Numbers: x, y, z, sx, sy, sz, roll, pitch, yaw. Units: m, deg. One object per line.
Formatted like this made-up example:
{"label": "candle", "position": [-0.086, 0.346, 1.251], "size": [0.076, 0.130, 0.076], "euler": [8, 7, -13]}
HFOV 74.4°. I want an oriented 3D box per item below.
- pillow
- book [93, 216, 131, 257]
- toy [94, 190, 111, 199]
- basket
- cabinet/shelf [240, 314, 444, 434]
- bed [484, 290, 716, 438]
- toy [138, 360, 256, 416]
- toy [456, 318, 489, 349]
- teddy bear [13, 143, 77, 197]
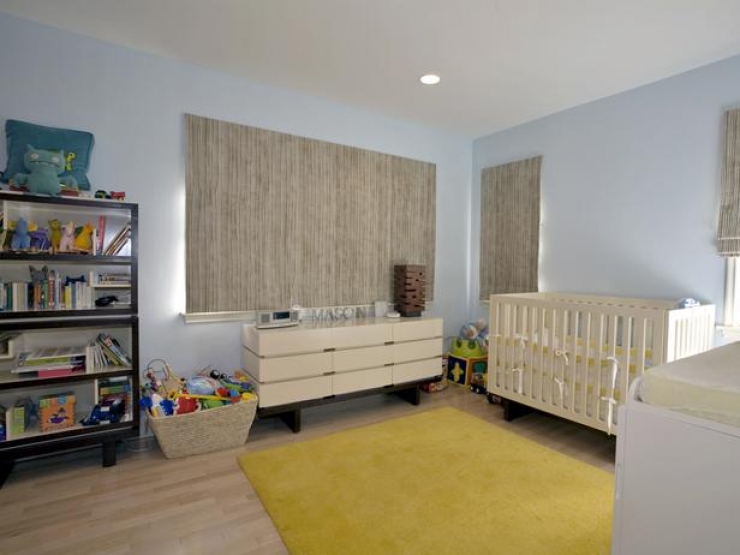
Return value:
{"label": "pillow", "position": [-2.221, -0.837, 3.324], "size": [0.483, 0.435, 0.098], "euler": [8, -26, -34]}
{"label": "book", "position": [-1.830, -0.253, 3.447], "size": [0.240, 0.326, 0.091], "euler": [19, -29, -38]}
{"label": "toy", "position": [-1.871, -0.583, 3.414], "size": [0.097, 0.049, 0.096], "euler": [16, 10, -47]}
{"label": "basket", "position": [-1.217, 1.015, 3.608], "size": [0.606, 0.297, 0.444], "euler": [-2, -4, -33]}
{"label": "cabinet/shelf", "position": [-0.179, 0.800, 4.404], "size": [1.814, 0.865, 0.564], "euler": [-2, 4, -29]}
{"label": "bed", "position": [1.628, 0.683, 3.967], "size": [1.228, 0.882, 0.729], "euler": [6, -3, 25]}
{"label": "toy", "position": [-1.303, 0.732, 3.668], "size": [0.585, 0.220, 0.448], "euler": [-1, 0, -32]}
{"label": "toy", "position": [1.114, 0.583, 5.218], "size": [0.290, 0.150, 0.282], "euler": [-4, 6, -44]}
{"label": "teddy bear", "position": [-2.179, -0.703, 3.288], "size": [0.345, 0.363, 0.124], "euler": [2, -22, -32]}
